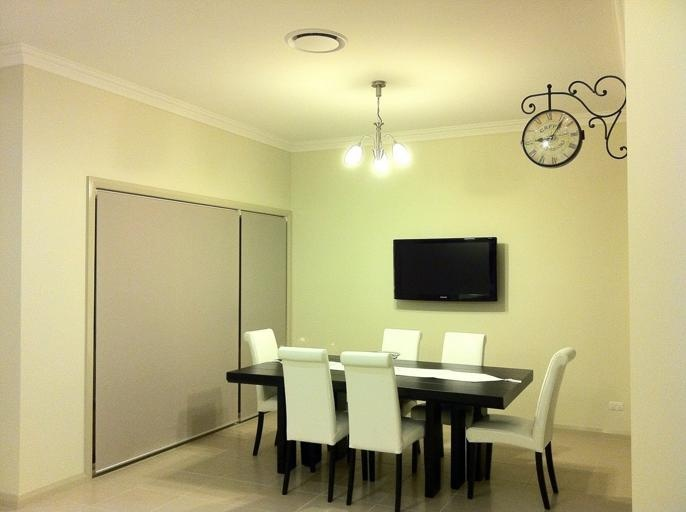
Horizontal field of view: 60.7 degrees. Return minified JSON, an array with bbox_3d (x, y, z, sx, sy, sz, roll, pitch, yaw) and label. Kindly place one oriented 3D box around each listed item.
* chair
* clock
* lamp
[{"bbox_3d":[0.597,1.270,4.638,2.311,1.148,1.008,0,3,18],"label":"chair"},{"bbox_3d":[1.613,-0.944,4.519,0.431,0.087,0.510,4,-45,25],"label":"clock"},{"bbox_3d":[0.373,-1.142,5.883,0.725,0.989,0.709,-3,-2,36],"label":"lamp"}]
